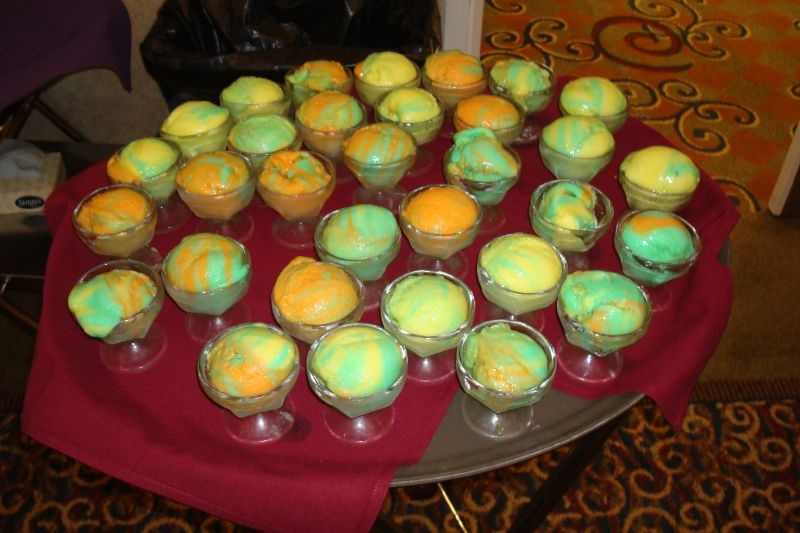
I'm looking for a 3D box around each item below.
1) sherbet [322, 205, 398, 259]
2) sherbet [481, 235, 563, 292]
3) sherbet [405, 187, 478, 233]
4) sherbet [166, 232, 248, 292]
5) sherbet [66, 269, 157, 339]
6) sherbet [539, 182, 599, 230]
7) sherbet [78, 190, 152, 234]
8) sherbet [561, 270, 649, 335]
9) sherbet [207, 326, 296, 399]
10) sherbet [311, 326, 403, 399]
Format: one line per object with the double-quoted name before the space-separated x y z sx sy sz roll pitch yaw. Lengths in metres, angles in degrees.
"sherbet" -0.109 -0.092 1.653 0.159 0.085 0.160 -23 51 -15
"sherbet" 0.324 -0.009 1.620 0.155 0.083 0.161 6 49 -4
"sherbet" 0.113 -0.155 1.684 0.142 0.076 0.148 6 45 3
"sherbet" -0.511 -0.008 1.611 0.162 0.091 0.170 -17 57 -26
"sherbet" -0.735 0.086 1.622 0.201 0.071 0.168 -35 73 -15
"sherbet" 0.475 -0.165 1.712 0.130 0.057 0.147 -1 60 0
"sherbet" -0.795 -0.154 1.701 0.143 0.081 0.149 -1 44 -2
"sherbet" 0.516 0.092 1.577 0.166 0.088 0.169 -11 55 -12
"sherbet" -0.367 0.255 1.544 0.231 0.122 0.241 1 39 -2
"sherbet" -0.107 0.224 1.500 0.164 0.094 0.168 8 45 11
